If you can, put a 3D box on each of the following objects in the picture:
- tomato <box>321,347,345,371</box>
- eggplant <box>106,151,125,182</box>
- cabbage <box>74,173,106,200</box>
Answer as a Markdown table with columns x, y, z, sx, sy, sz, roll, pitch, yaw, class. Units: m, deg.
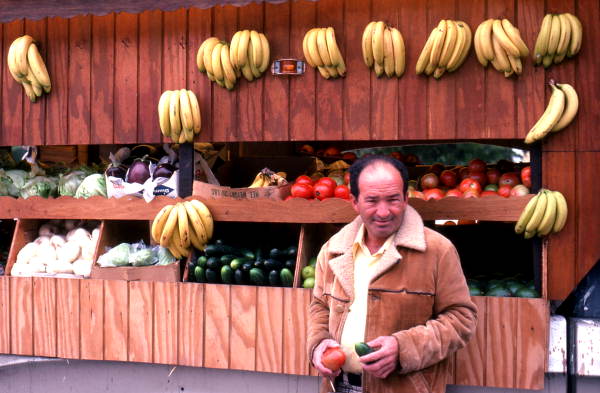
| x | y | z | sx | sy | sz | roll | pitch | yaw | class |
| --- | --- | --- | --- | --- | --- | --- | --- | --- | --- |
| 0.277 | 1.415 | 7.945 | 0.178 | 0.213 | 0.191 | -8 | -8 | 19 | tomato |
| -2.067 | -0.336 | 10.027 | 0.181 | 0.348 | 0.210 | 0 | -24 | -38 | eggplant |
| -2.336 | -0.124 | 9.989 | 0.285 | 0.266 | 0.167 | -30 | -29 | 24 | cabbage |
